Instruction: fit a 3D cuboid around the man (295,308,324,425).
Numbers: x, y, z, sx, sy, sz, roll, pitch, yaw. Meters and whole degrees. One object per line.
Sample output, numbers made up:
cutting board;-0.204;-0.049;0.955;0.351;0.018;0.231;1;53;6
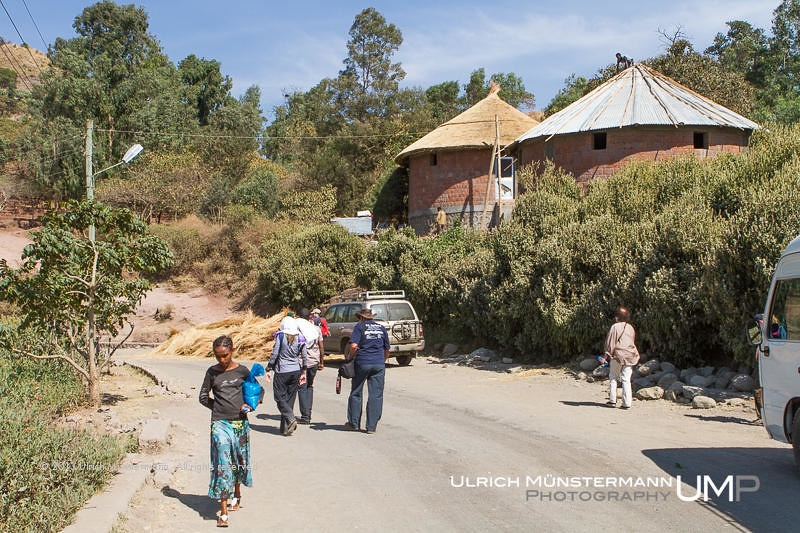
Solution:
man;-2.271;2.707;21.545;0.809;2.761;0.844;1;-27;-1

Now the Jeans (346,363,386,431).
Jeans;-0.847;3.269;20.525;0.919;1.623;1.089;-2;8;-3

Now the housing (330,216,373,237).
housing;-3.146;-2.826;58.118;1.428;1.258;2.747;-8;11;-38

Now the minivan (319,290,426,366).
minivan;-1.541;2.428;32.134;2.770;3.165;5.267;1;-4;-33

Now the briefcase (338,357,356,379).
briefcase;-1.263;2.584;20.826;0.410;0.492;0.467;-25;-7;11

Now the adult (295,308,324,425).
adult;-2.265;2.644;21.525;0.848;2.791;0.837;1;-18;2

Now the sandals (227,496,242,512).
sandals;-3.266;4.685;16.301;0.234;0.293;0.634;0;-15;1

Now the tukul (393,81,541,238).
tukul;5.302;-6.886;54.347;7.738;7.516;9.228;-2;6;-25

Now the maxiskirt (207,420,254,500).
maxiskirt;-3.323;3.736;16.141;0.787;1.366;0.652;-3;9;-15

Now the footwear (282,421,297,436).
footwear;-2.666;3.943;20.226;0.343;0.330;0.269;-6;10;-29

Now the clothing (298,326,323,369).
clothing;-2.297;2.060;21.075;1.024;1.103;0.559;-2;2;-43

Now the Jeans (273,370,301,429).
Jeans;-2.756;3.332;20.406;0.630;1.410;0.637;-2;8;-9

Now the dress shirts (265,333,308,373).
dress shirts;-2.683;2.161;20.777;0.971;1.059;0.580;6;-3;18

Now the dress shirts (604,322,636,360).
dress shirts;5.930;2.010;21.929;1.001;1.083;0.642;-7;8;-25
